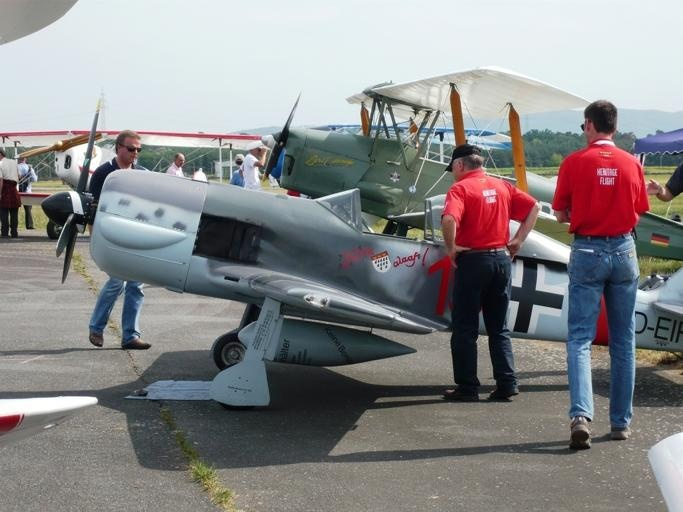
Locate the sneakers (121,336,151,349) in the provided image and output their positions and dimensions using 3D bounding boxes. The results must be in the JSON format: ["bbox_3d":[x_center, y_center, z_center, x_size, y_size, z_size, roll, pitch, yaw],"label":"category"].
[{"bbox_3d":[-2.054,0.878,6.588,0.347,0.103,0.101,-1,5,-6],"label":"sneakers"}]

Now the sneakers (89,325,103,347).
[{"bbox_3d":[-2.433,0.791,6.532,0.092,0.238,0.105,4,-44,-44],"label":"sneakers"}]

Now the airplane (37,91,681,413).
[{"bbox_3d":[0.088,0.122,5.626,4.054,1.197,3.152,7,5,-22],"label":"airplane"}]

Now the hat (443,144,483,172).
[{"bbox_3d":[0.999,-0.832,5.471,0.340,0.146,0.209,-4,2,10],"label":"hat"}]

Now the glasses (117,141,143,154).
[{"bbox_3d":[-2.037,-1.048,6.260,0.178,0.044,0.175,1,3,-36],"label":"glasses"}]

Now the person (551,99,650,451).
[{"bbox_3d":[1.850,0.090,4.661,0.754,2.398,0.881,6,11,15],"label":"person"}]

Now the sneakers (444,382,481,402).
[{"bbox_3d":[0.990,1.134,5.467,0.334,0.125,0.123,3,4,34],"label":"sneakers"}]

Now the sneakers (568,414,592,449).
[{"bbox_3d":[1.638,1.220,4.516,0.144,0.240,0.133,3,17,8],"label":"sneakers"}]

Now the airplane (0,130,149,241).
[{"bbox_3d":[-7.514,-2.318,19.023,3.724,1.225,2.673,-10,-24,13],"label":"airplane"}]

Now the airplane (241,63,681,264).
[{"bbox_3d":[1.510,-1.681,10.661,4.461,1.143,4.891,9,2,-25],"label":"airplane"}]

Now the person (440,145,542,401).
[{"bbox_3d":[1.150,0.151,5.414,0.903,2.119,0.527,0,11,-12],"label":"person"}]

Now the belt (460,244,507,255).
[{"bbox_3d":[1.123,-0.051,5.237,0.449,0.052,0.063,0,9,-12],"label":"belt"}]
